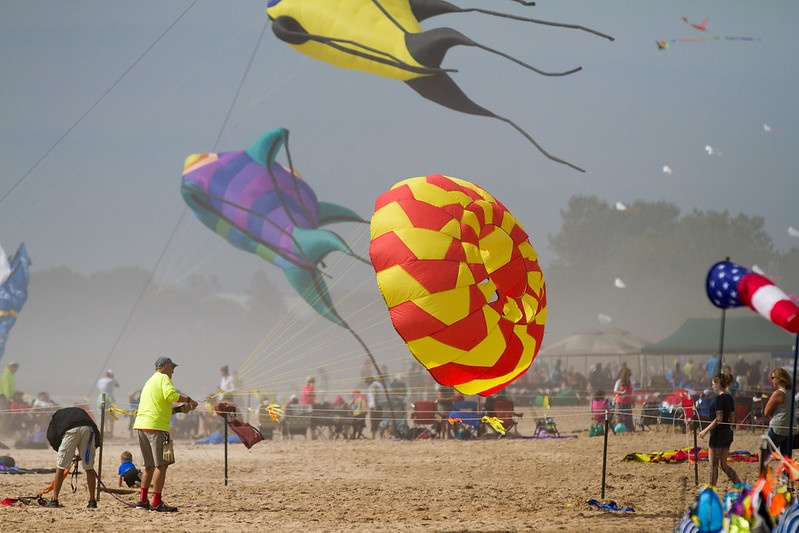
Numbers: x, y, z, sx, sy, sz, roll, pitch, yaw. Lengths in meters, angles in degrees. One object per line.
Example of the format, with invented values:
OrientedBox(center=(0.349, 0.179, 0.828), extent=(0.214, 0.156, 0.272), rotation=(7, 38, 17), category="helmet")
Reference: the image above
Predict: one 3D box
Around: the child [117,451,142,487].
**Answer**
OrientedBox(center=(-6.969, 5.226, 28.792), extent=(0.580, 0.999, 0.710), rotation=(-15, -20, -1), category="child")

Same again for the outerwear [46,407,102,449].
OrientedBox(center=(-8.146, 3.952, 27.860), extent=(1.072, 1.172, 0.635), rotation=(-6, 14, -20), category="outerwear")

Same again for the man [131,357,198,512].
OrientedBox(center=(-5.872, 4.061, 27.432), extent=(1.258, 3.720, 1.078), rotation=(-8, -13, 39), category="man")

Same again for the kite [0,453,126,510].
OrientedBox(center=(-8.317, 5.353, 28.187), extent=(3.303, 1.688, 1.182), rotation=(1, -9, 0), category="kite")

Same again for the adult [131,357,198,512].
OrientedBox(center=(-5.865, 4.058, 27.418), extent=(1.274, 3.720, 0.992), rotation=(-6, -12, 31), category="adult")

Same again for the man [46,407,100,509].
OrientedBox(center=(-8.034, 4.729, 27.792), extent=(1.198, 2.902, 1.246), rotation=(-27, -35, 26), category="man")

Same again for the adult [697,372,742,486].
OrientedBox(center=(7.907, 4.193, 27.780), extent=(1.030, 3.024, 0.875), rotation=(3, -3, -2), category="adult")

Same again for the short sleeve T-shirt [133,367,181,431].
OrientedBox(center=(-5.976, 3.326, 27.697), extent=(1.233, 1.529, 1.015), rotation=(-14, -21, 39), category="short sleeve T-shirt")

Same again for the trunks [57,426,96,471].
OrientedBox(center=(-7.909, 4.393, 27.522), extent=(0.833, 1.200, 0.415), rotation=(7, -7, -23), category="trunks")
